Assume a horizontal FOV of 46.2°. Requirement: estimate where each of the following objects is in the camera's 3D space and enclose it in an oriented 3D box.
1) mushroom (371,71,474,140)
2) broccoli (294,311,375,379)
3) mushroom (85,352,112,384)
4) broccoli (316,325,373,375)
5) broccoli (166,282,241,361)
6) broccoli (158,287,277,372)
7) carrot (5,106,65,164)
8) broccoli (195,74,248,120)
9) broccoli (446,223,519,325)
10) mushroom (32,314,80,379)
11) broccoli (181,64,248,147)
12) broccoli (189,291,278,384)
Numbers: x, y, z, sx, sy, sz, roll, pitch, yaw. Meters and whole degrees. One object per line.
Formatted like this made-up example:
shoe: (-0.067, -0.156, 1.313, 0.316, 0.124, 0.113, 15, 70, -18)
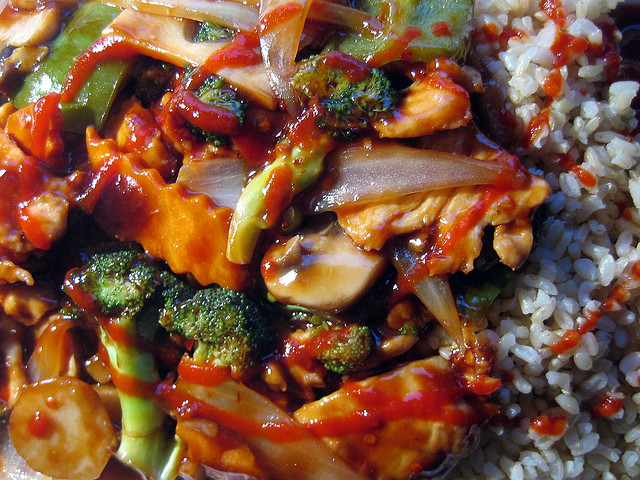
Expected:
mushroom: (0.390, -0.539, 2.961, 0.383, 0.147, 0.264, -2, 71, 0)
broccoli: (0.051, 0.357, 3.009, 0.296, 0.131, 0.211, 31, 45, 18)
mushroom: (-0.944, 0.549, 3.249, 0.127, 0.037, 0.121, 46, 109, 13)
broccoli: (0.102, 0.440, 2.975, 0.157, 0.081, 0.193, 43, 104, 26)
broccoli: (-0.447, 0.327, 3.061, 0.288, 0.152, 0.277, 24, 73, 8)
broccoli: (-0.404, 0.326, 3.021, 0.333, 0.149, 0.323, 27, 39, 19)
carrot: (-1.215, -0.476, 3.192, 0.277, 0.132, 0.172, 34, 75, 11)
broccoli: (-0.394, -0.574, 3.060, 0.151, 0.049, 0.184, 11, 59, -17)
broccoli: (0.645, 0.174, 3.091, 0.239, 0.087, 0.418, 9, 103, 4)
mushroom: (-1.133, 0.462, 3.234, 0.182, 0.097, 0.296, -3, 90, 22)
broccoli: (-0.402, -0.550, 3.094, 0.207, 0.074, 0.308, -17, 88, 13)
broccoli: (-0.344, 0.431, 2.959, 0.297, 0.153, 0.369, 1, 95, -8)
